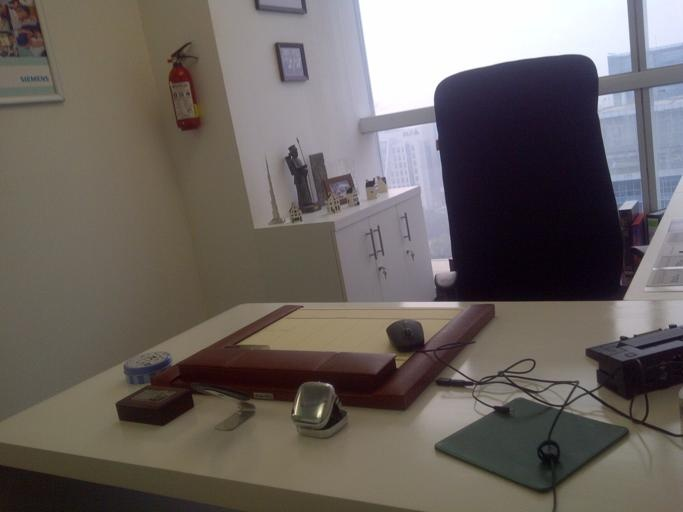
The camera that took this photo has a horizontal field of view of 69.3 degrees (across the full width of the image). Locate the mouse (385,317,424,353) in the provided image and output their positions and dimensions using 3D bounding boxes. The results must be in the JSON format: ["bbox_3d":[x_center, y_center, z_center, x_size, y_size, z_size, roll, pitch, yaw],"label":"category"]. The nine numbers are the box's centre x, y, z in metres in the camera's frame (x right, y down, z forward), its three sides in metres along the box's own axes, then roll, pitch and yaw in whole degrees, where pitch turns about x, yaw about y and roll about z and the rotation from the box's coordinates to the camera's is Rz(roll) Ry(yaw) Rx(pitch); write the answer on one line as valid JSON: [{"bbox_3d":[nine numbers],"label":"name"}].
[{"bbox_3d":[0.147,0.175,1.118,0.059,0.077,0.029,-9,58,10],"label":"mouse"}]

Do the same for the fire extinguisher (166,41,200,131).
[{"bbox_3d":[-0.921,-0.950,2.800,0.213,0.476,0.139,2,16,29],"label":"fire extinguisher"}]

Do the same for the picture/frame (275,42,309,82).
[{"bbox_3d":[-0.309,-1.242,3.189,0.243,0.223,0.019,20,41,40],"label":"picture/frame"}]
